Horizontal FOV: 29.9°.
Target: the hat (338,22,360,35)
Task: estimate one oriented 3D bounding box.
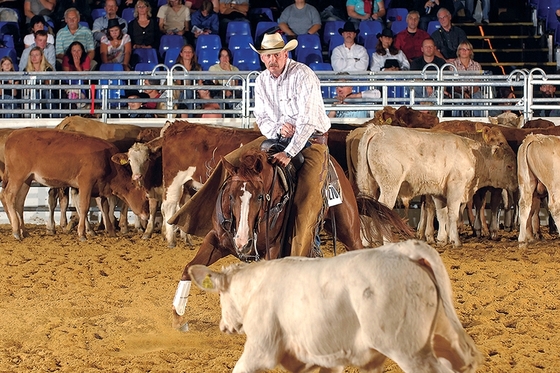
[{"bbox_3d":[1.999,-4.515,29.939,0.541,0.287,0.681,1,-5,3],"label":"hat"}]

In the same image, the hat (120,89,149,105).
[{"bbox_3d":[-3.701,-2.396,27.287,0.472,0.224,0.580,1,-15,10],"label":"hat"}]
